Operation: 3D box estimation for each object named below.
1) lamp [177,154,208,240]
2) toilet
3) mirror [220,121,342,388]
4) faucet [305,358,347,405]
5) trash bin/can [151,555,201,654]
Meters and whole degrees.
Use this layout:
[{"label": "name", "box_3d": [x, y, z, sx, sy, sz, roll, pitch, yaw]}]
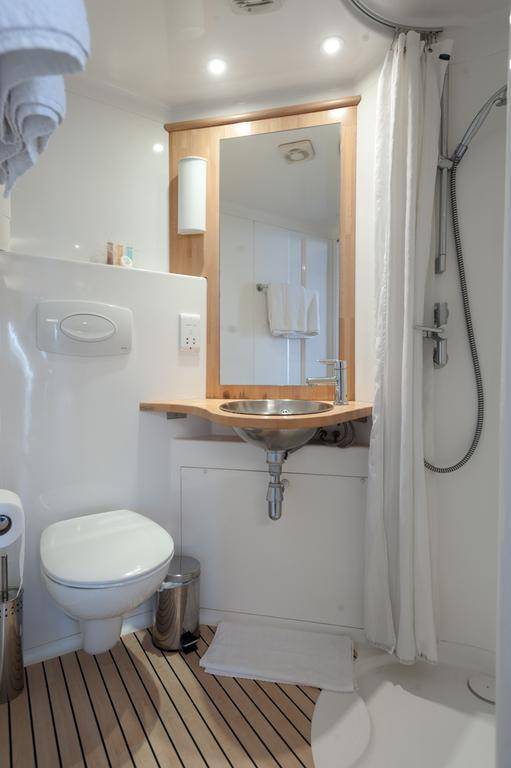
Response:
[{"label": "lamp", "box_3d": [-0.239, -0.717, 2.294, 0.104, 0.265, 0.047, -1, 7, -5]}, {"label": "toilet", "box_3d": [-0.426, 0.467, 1.740, 0.291, 0.363, 0.390, -2, 7, -30]}, {"label": "mirror", "box_3d": [0.084, -0.467, 2.261, 0.470, 0.940, 0.115, 3, 8, 20]}, {"label": "faucet", "box_3d": [0.254, -0.009, 2.100, 0.122, 0.163, 0.274, 1, 10, 11]}, {"label": "trash bin/can", "box_3d": [-0.282, 0.706, 2.103, 0.166, 0.342, 0.251, -1, 8, -23]}]
